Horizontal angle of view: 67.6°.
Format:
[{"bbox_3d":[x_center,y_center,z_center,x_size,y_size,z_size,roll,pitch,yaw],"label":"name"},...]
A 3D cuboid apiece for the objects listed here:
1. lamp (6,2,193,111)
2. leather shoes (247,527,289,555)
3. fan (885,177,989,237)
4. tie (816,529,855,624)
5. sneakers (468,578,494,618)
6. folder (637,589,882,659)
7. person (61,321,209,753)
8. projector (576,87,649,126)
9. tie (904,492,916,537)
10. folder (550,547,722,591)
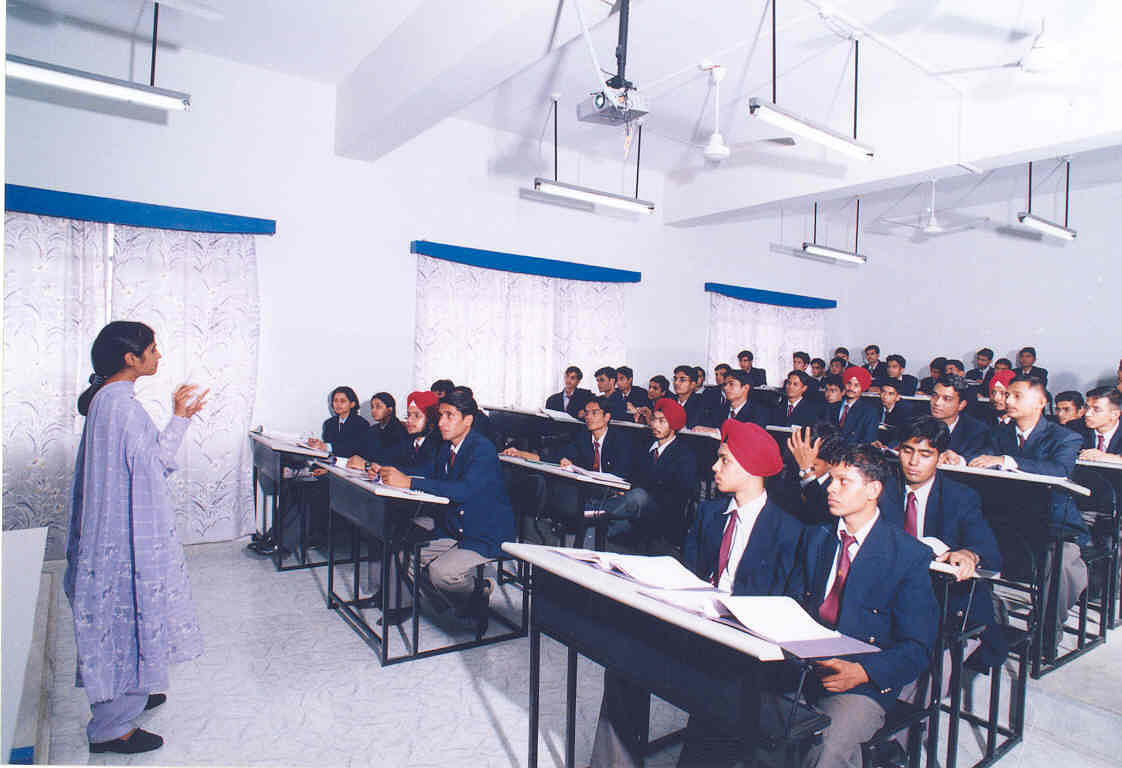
[{"bbox_3d":[-3.604,-2.531,6.412,0.270,1.091,1.162,10,8,40],"label":"lamp"},{"bbox_3d":[-2.454,1.310,6.974,0.342,0.113,0.248,6,-7,-30],"label":"leather shoes"},{"bbox_3d":[5.078,-2.257,11.299,1.001,0.714,1.010,2,13,25],"label":"fan"},{"bbox_3d":[1.295,0.933,4.086,0.106,0.381,0.275,13,-12,6],"label":"tie"},{"bbox_3d":[-0.485,1.418,5.507,0.085,0.191,0.265,3,-41,-21],"label":"sneakers"},{"bbox_3d":[0.843,1.027,3.618,0.937,0.200,0.269,4,3,27],"label":"folder"},{"bbox_3d":[-2.325,0.805,4.523,0.750,2.294,0.347,2,3,-7],"label":"person"},{"bbox_3d":[0.395,-2.106,6.245,0.365,0.286,0.438,5,4,42],"label":"projector"},{"bbox_3d":[1.988,0.723,4.753,0.053,0.228,0.083,2,3,-15],"label":"tie"},{"bbox_3d":[0.347,0.851,3.952,0.744,0.095,0.268,5,3,34],"label":"folder"}]
